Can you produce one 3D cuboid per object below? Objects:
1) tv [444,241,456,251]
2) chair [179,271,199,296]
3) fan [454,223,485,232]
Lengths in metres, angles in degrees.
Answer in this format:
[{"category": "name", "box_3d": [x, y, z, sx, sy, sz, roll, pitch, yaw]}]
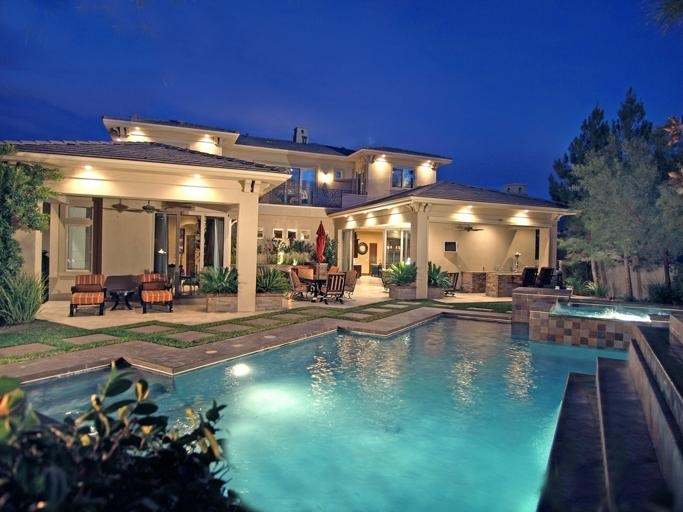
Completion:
[{"category": "tv", "box_3d": [5.371, -0.514, 22.759, 0.500, 0.354, 0.067, 0, -6, -10]}, {"category": "chair", "box_3d": [-5.366, 0.996, 16.031, 0.834, 1.061, 0.765, 1, -1, -20]}, {"category": "fan", "box_3d": [6.504, -1.405, 22.876, 1.556, 0.386, 0.602, 0, 6, -28]}]
